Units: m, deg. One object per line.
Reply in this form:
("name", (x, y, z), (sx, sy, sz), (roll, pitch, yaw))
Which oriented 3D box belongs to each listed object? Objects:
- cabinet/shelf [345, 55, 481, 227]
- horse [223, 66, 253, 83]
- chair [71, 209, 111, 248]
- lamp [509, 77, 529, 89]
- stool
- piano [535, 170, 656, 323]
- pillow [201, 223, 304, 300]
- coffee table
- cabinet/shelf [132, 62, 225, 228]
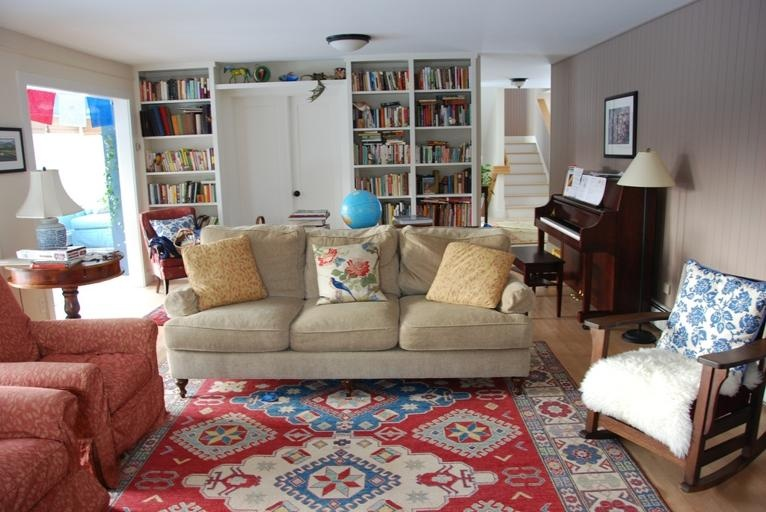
("cabinet/shelf", (0.465, -1.483, 7.347), (1.697, 2.180, 0.527), (-1, 15, 7))
("horse", (-1.966, -2.443, 7.417), (0.379, 0.209, 0.183), (-5, 13, -10))
("chair", (-4.166, -0.365, 7.776), (0.700, 0.397, 0.602), (0, 17, -6))
("lamp", (2.520, -3.170, 10.027), (0.311, 0.122, 0.271), (-1, 7, 0))
("stool", (1.622, 0.276, 5.628), (0.329, 0.345, 0.803), (-2, 13, 3))
("piano", (2.275, -0.072, 5.718), (0.815, 1.395, 1.694), (-1, 12, 2))
("pillow", (-0.924, 0.037, 4.803), (0.841, 0.647, 0.275), (-7, -3, -7))
("coffee table", (-2.888, 0.079, 4.914), (0.856, 0.570, 0.765), (-9, 17, -35))
("cabinet/shelf", (-2.732, -1.485, 7.489), (1.152, 2.063, 0.445), (-2, 15, 5))
